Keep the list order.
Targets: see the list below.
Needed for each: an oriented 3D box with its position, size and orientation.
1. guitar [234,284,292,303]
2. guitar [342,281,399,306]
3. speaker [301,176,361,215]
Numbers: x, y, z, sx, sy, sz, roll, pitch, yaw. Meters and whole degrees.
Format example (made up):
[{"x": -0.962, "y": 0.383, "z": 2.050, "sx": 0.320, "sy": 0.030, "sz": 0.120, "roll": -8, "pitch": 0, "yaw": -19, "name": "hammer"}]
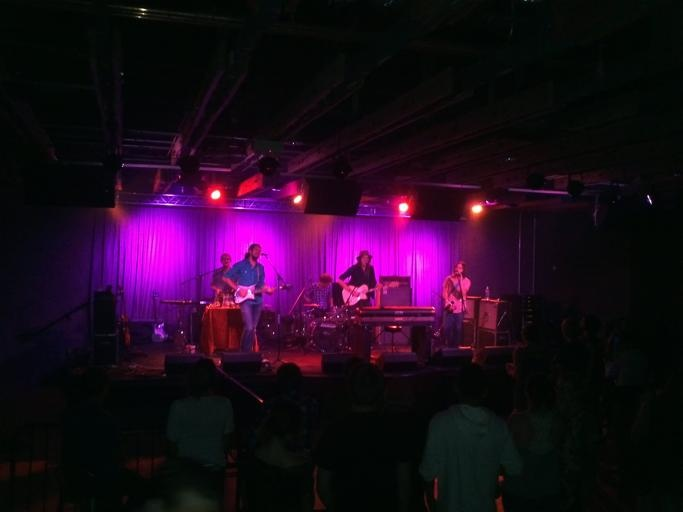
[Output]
[{"x": -1.413, "y": 0.665, "z": 9.220, "sx": 0.710, "sy": 0.303, "sz": 0.397, "roll": 5, "pitch": -1, "yaw": -28, "name": "guitar"}, {"x": 0.386, "y": 0.773, "z": 10.730, "sx": 0.813, "sy": 0.425, "sz": 0.342, "roll": 3, "pitch": -1, "yaw": 16, "name": "guitar"}, {"x": -0.117, "y": -0.937, "z": 8.686, "sx": 0.999, "sy": 0.730, "sz": 0.531, "roll": 5, "pitch": -4, "yaw": -17, "name": "speaker"}]
